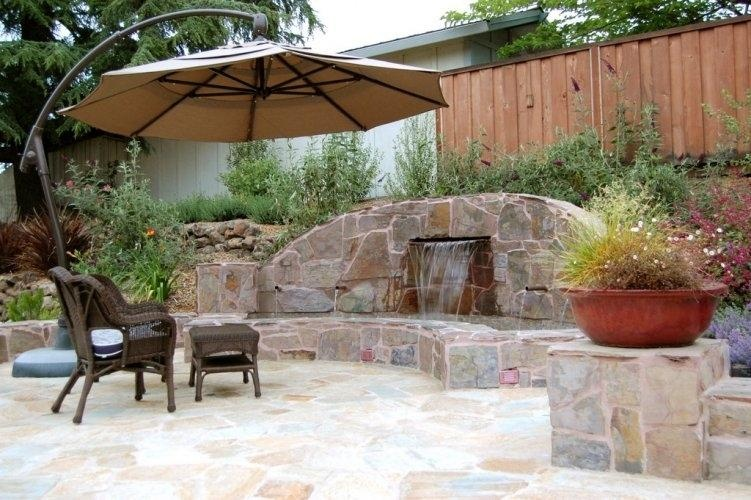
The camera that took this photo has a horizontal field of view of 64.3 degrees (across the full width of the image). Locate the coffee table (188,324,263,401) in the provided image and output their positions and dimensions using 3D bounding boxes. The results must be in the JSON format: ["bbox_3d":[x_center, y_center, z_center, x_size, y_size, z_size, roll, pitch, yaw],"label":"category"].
[{"bbox_3d":[-1.669,1.198,6.543,0.715,0.679,0.797,0,-4,-21],"label":"coffee table"}]

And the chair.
[{"bbox_3d":[-2.717,1.016,6.503,1.424,1.774,1.449,0,2,-26],"label":"chair"}]

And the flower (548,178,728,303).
[{"bbox_3d":[2.137,-0.059,4.964,1.140,0.752,1.153,-2,-6,22],"label":"flower"}]
